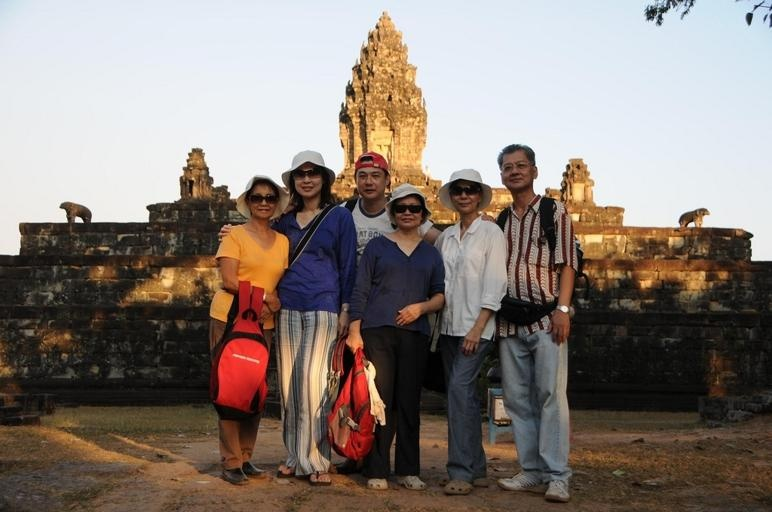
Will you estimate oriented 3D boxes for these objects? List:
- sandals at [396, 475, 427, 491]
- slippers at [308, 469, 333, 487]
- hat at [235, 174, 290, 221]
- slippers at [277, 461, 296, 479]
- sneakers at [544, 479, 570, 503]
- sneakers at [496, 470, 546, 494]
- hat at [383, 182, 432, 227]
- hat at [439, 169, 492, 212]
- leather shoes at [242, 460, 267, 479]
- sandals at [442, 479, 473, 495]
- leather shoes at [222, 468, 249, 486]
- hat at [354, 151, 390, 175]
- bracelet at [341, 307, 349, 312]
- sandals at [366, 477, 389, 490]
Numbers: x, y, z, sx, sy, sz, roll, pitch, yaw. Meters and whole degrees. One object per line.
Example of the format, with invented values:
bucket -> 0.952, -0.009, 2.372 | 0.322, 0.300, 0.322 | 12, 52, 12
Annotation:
sandals -> 0.356, 2.858, 12.923 | 0.342, 0.132, 0.154 | -2, 2, 31
slippers -> -0.797, 2.782, 12.885 | 0.308, 0.175, 0.152 | 0, 4, -5
hat -> -1.470, -0.691, 12.629 | 0.813, 0.812, 0.452 | 1, 16, -10
slippers -> -1.239, 2.725, 13.038 | 0.203, 0.126, 0.369 | 1, -7, -3
sneakers -> 2.178, 2.890, 12.665 | 0.322, 0.254, 0.239 | 1, 4, 10
sneakers -> 1.747, 2.831, 12.888 | 0.595, 0.239, 0.237 | 4, -8, 2
hat -> 0.315, -0.686, 13.209 | 0.414, 0.217, 0.517 | 1, -42, 2
hat -> 1.030, -0.788, 12.666 | 0.721, 0.375, 0.823 | 0, -42, 7
leather shoes -> -1.678, 2.712, 12.984 | 0.369, 0.130, 0.141 | 3, -1, -26
sandals -> 0.925, 2.865, 12.722 | 0.300, 0.099, 0.163 | 13, -9, -32
leather shoes -> -1.868, 2.740, 12.711 | 0.370, 0.207, 0.136 | -4, -8, 23
hat -> -0.144, -1.214, 13.303 | 0.427, 0.255, 0.231 | 0, 4, -7
bracelet -> -0.495, 0.681, 13.123 | 0.061, 0.051, 0.059 | -3, -5, 19
sandals -> -0.075, 2.841, 12.782 | 0.241, 0.090, 0.125 | 9, 16, 0
